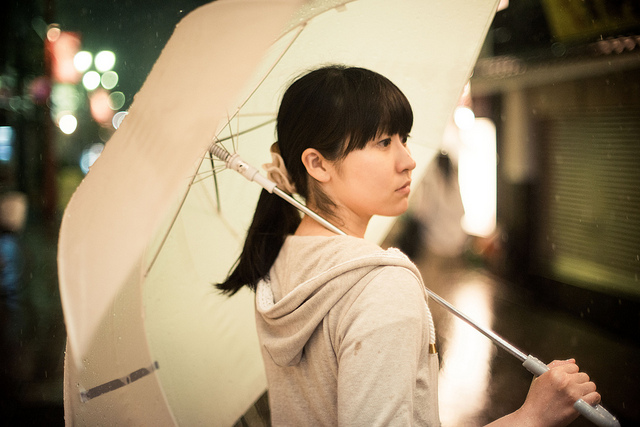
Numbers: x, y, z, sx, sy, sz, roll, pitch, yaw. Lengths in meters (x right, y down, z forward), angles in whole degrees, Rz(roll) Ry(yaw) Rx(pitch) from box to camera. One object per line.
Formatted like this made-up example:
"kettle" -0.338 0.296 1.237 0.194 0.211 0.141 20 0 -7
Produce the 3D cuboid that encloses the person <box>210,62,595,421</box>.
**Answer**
"person" 0.061 0.136 2.812 0.970 1.716 0.554 1 3 34
